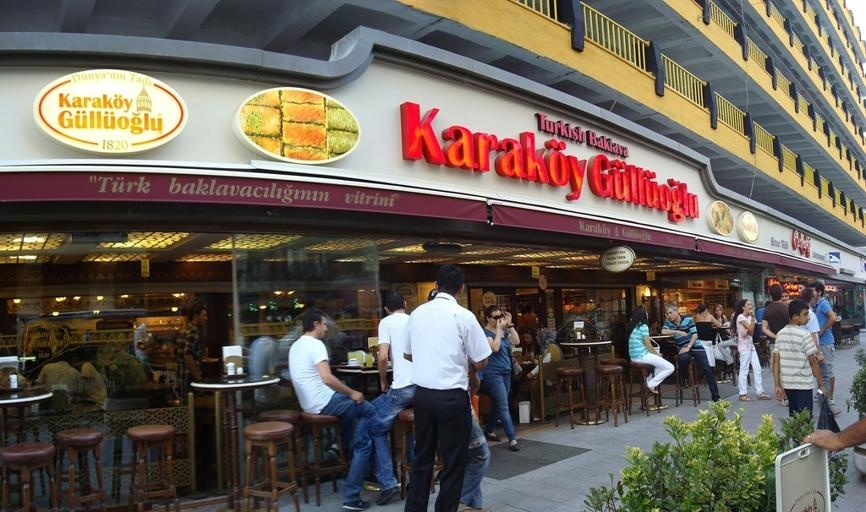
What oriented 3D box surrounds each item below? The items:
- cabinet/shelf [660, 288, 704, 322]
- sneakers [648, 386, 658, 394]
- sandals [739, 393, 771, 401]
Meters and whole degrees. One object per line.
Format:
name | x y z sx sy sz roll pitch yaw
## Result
cabinet/shelf | 8.639 1.655 21.732 1.496 1.239 0.463 0 -8 -2
sneakers | 4.999 3.041 14.250 0.149 0.161 0.438 -1 -24 36
sandals | 7.630 3.357 14.862 0.548 0.133 0.293 -5 -8 15
